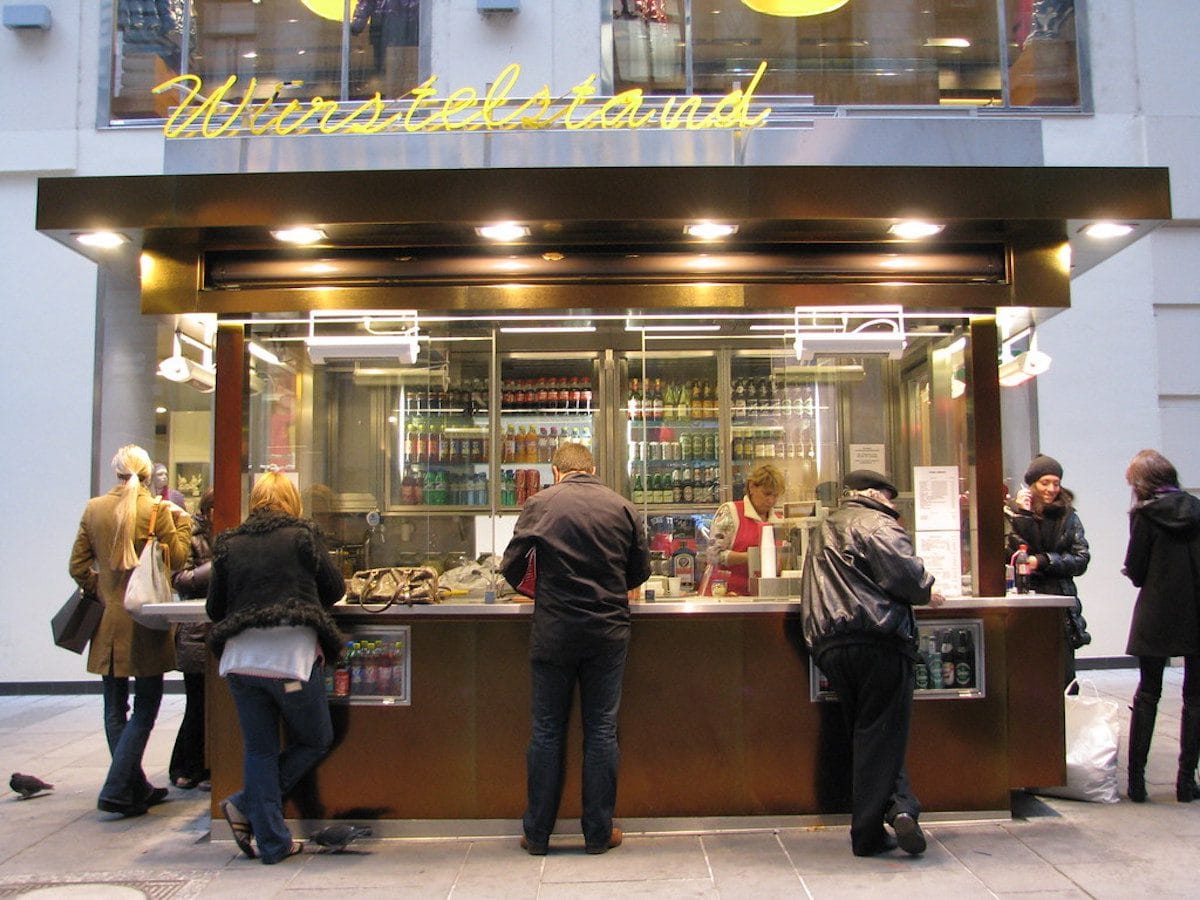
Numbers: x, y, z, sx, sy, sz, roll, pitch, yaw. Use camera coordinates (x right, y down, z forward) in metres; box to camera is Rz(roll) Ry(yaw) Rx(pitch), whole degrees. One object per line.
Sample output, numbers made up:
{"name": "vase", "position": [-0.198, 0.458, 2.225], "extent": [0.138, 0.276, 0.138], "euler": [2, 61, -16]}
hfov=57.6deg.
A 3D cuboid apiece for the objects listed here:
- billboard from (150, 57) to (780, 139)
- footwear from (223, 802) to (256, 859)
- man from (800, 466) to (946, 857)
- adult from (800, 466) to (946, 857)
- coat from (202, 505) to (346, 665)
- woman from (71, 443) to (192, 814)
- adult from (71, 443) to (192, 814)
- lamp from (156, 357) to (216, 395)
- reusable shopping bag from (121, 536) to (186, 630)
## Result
{"name": "billboard", "position": [-0.937, -2.393, 7.469], "extent": [3.952, 0.524, 0.502], "euler": [-1, 8, 0]}
{"name": "footwear", "position": [-2.192, 2.318, 6.721], "extent": [0.113, 0.384, 0.154], "euler": [-19, -5, -30]}
{"name": "man", "position": [1.685, 1.321, 6.740], "extent": [0.649, 2.258, 0.939], "euler": [-4, 9, -21]}
{"name": "adult", "position": [1.683, 1.321, 6.740], "extent": [0.661, 2.258, 0.938], "euler": [-4, 9, -20]}
{"name": "coat", "position": [-1.845, 0.795, 6.994], "extent": [1.102, 1.221, 0.843], "euler": [-1, -23, -8]}
{"name": "woman", "position": [-3.125, 1.221, 7.429], "extent": [0.772, 2.444, 0.654], "euler": [-5, 9, -26]}
{"name": "adult", "position": [-3.134, 1.219, 7.439], "extent": [0.766, 2.444, 0.680], "euler": [-5, 9, -26]}
{"name": "lamp", "position": [-3.202, -0.582, 8.455], "extent": [0.333, 0.170, 0.490], "euler": [4, -1, 6]}
{"name": "reusable shopping bag", "position": [-2.954, 0.869, 7.197], "extent": [0.250, 0.522, 0.534], "euler": [5, -15, -18]}
